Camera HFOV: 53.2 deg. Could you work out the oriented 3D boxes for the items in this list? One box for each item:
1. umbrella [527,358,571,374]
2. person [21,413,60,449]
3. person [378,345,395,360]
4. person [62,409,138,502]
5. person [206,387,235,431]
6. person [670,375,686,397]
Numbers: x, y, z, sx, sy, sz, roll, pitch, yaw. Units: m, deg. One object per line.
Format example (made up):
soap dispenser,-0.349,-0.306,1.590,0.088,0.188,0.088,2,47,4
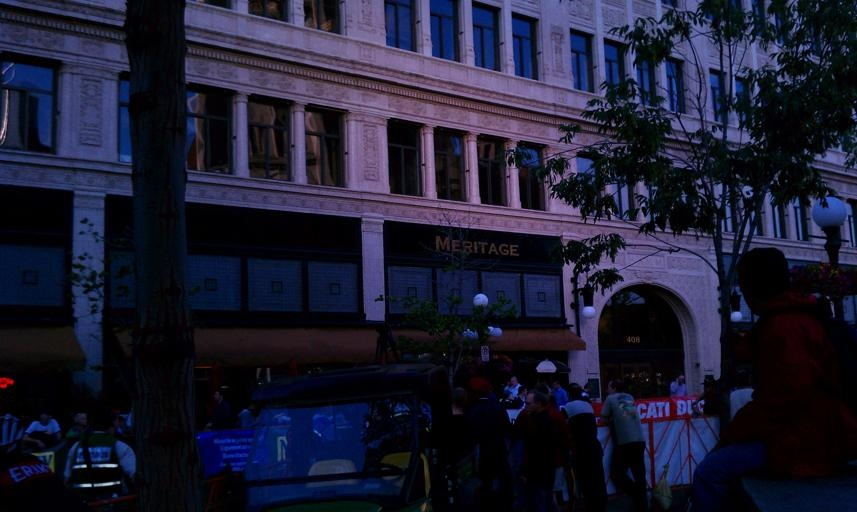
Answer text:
umbrella,4.756,4.272,33.249,1.174,0.582,2.284,-4,-6,16
person,-11.135,4.937,24.602,0.610,0.467,0.971,8,14,40
person,-1.271,2.869,25.741,0.510,0.537,0.968,0,-8,5
person,-5.940,3.806,15.965,1.289,1.792,0.949,-3,5,9
person,-5.349,4.089,22.329,0.598,1.195,0.581,5,13,11
person,9.517,4.869,32.528,0.406,0.726,1.517,-3,-6,11
